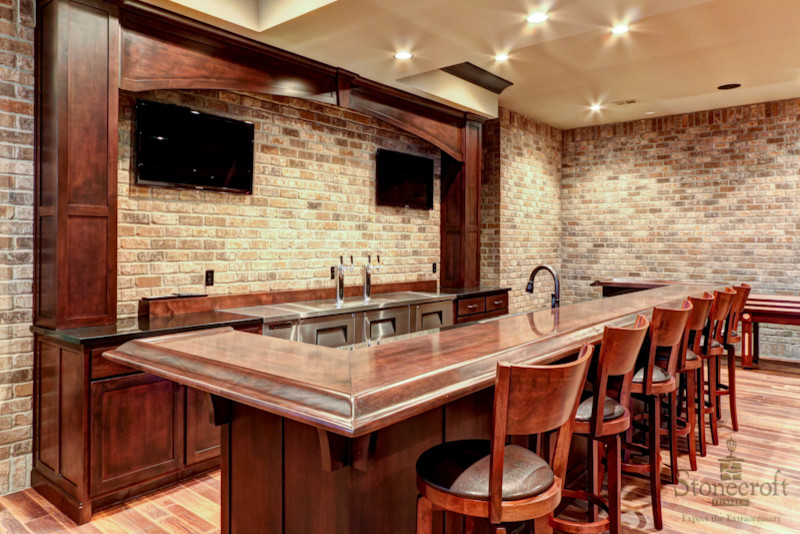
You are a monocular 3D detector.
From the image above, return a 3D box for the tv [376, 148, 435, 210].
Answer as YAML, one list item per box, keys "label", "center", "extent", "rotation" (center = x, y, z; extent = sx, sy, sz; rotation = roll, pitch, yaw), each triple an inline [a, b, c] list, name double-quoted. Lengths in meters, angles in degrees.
- label: "tv"
  center: [0.022, -1.025, 6.455]
  extent: [0.943, 0.566, 0.096]
  rotation: [-1, 5, -37]

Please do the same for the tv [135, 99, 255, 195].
- label: "tv"
  center: [-1.778, -1.010, 4.677]
  extent: [1.074, 0.583, 0.103]
  rotation: [-1, 7, -45]
